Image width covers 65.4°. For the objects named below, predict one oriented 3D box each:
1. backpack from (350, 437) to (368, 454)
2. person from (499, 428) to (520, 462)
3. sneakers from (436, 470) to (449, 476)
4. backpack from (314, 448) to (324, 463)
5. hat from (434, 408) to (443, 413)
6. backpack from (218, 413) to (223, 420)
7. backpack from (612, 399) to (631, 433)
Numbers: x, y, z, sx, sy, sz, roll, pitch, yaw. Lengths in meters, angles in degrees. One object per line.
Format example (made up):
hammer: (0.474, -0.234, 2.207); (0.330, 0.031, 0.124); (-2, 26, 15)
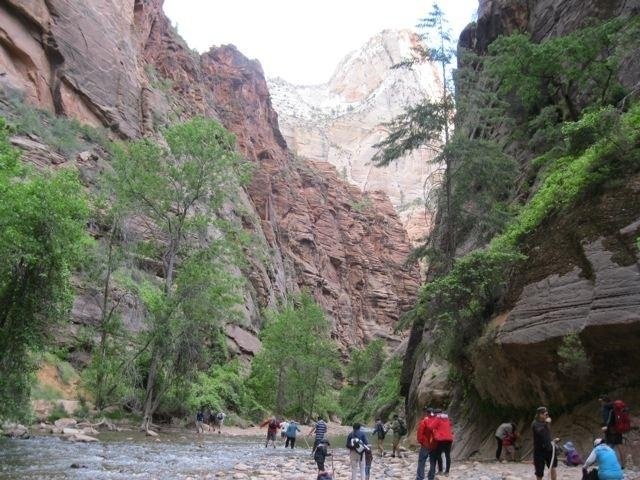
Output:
backpack: (1.108, 5.794, 14.120); (0.528, 0.143, 0.318); (40, -49, -21)
person: (6.540, 7.105, 17.176); (0.553, 0.984, 0.931); (-3, -24, 21)
sneakers: (3.821, 7.223, 15.509); (0.374, 0.182, 0.142); (-3, -12, 42)
backpack: (-0.007, 6.465, 15.070); (0.304, 0.412, 0.222); (-1, -22, 17)
hat: (3.493, 4.997, 14.681); (0.215, 0.120, 0.319); (-3, -20, 1)
backpack: (-6.319, 11.183, 31.803); (0.385, 0.350, 0.970); (10, -24, -9)
backpack: (8.244, 4.800, 13.636); (0.344, 0.806, 0.433); (-7, -25, 30)
